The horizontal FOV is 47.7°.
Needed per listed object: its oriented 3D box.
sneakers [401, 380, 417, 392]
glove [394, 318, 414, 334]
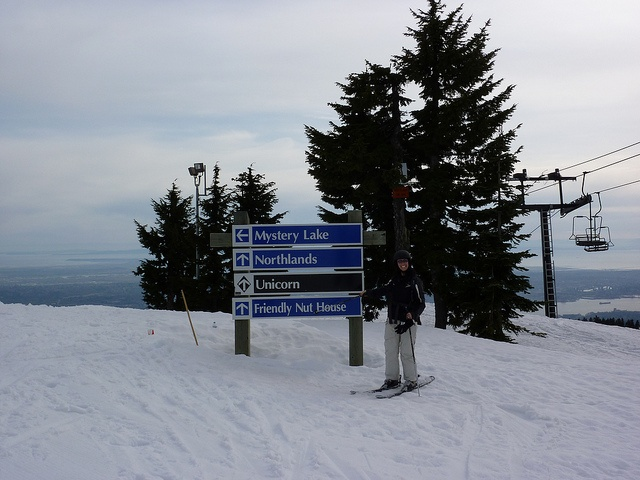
[{"bbox_3d":[2.299,3.797,18.865,0.246,0.144,0.316,-13,-3,23],"label":"sneakers"},{"bbox_3d":[2.155,2.245,18.866,0.483,0.273,0.145,-36,-30,16],"label":"glove"}]
